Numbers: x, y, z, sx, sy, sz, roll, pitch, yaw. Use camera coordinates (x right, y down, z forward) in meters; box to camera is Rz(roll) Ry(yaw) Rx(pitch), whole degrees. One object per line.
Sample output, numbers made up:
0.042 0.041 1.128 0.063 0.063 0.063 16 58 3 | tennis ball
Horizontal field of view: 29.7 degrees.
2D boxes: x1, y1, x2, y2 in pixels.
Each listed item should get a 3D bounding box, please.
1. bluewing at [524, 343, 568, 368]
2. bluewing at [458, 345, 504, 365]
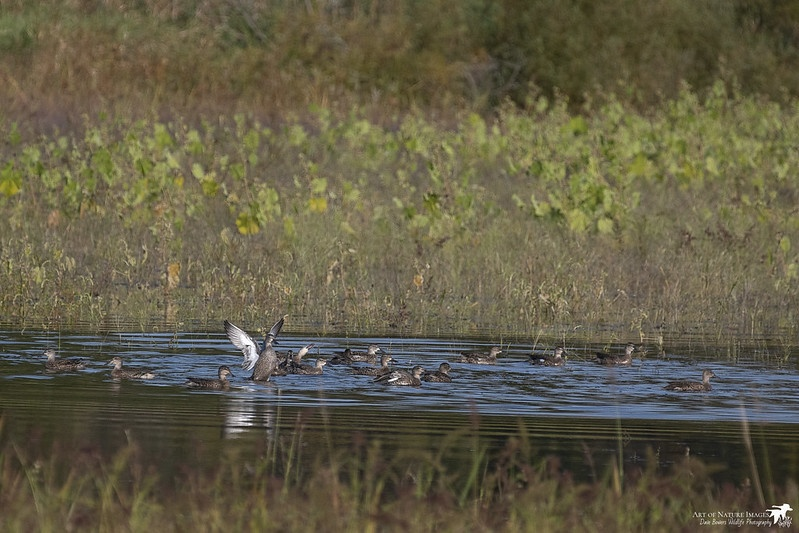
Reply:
2.596 1.569 26.084 0.540 0.424 0.318 2 1 9 | bluewing
1.430 1.592 26.235 0.614 0.411 0.295 2 4 0 | bluewing
